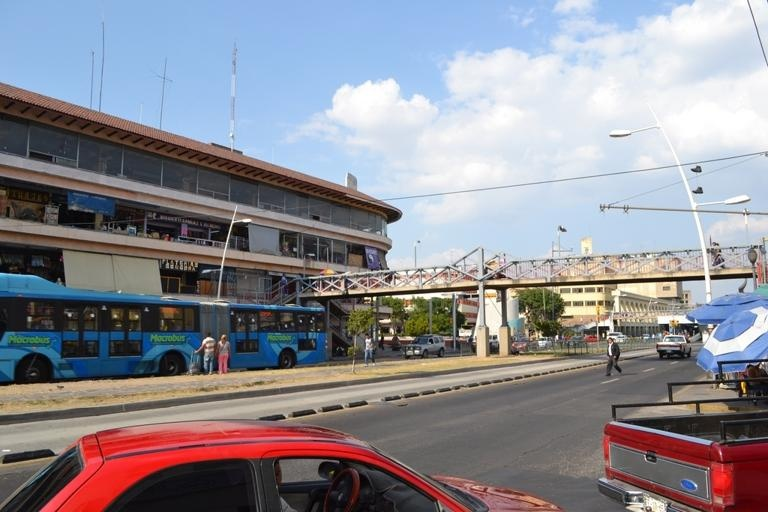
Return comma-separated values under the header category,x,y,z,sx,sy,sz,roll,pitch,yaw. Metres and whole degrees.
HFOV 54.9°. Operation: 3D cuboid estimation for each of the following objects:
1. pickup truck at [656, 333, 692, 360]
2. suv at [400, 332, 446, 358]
category,x,y,z,sx,sy,sz,roll,pitch,yaw
pickup truck,21.602,6.770,55.105,1.559,1.181,3.231,-1,-3,26
suv,3.122,7.565,61.450,1.653,1.398,3.432,-7,-12,31
